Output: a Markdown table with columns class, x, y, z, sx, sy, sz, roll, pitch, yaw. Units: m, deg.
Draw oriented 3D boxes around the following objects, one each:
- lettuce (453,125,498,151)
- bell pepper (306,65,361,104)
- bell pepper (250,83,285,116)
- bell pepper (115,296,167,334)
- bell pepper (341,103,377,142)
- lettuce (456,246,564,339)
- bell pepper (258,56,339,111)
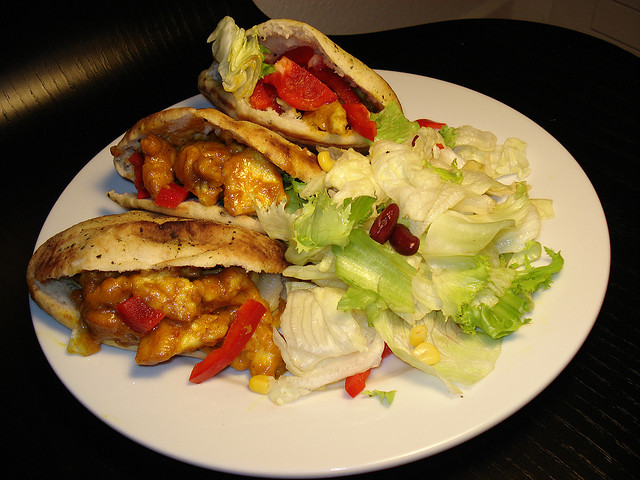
| class | x | y | z | sx | sy | sz | roll | pitch | yaw |
| --- | --- | --- | --- | --- | --- | --- | --- | --- | --- |
| lettuce | 1.285 | -0.841 | 4.608 | 0.286 | 0.072 | 0.197 | 17 | 76 | 24 |
| bell pepper | 0.088 | -1.220 | 4.351 | 0.383 | 0.111 | 0.091 | 34 | 47 | -12 |
| bell pepper | -0.424 | -1.100 | 4.349 | 0.230 | 0.093 | 0.251 | 1 | 84 | -25 |
| bell pepper | -1.161 | 0.474 | 3.578 | 0.237 | 0.089 | 0.252 | 41 | 48 | 6 |
| bell pepper | 0.305 | -0.919 | 4.270 | 0.242 | 0.100 | 0.266 | 24 | 96 | 23 |
| lettuce | 1.206 | 0.284 | 3.581 | 0.212 | 0.444 | 0.616 | 37 | 65 | -29 |
| bell pepper | -0.163 | -1.181 | 4.301 | 0.568 | 0.119 | 0.309 | 39 | 82 | 7 |
